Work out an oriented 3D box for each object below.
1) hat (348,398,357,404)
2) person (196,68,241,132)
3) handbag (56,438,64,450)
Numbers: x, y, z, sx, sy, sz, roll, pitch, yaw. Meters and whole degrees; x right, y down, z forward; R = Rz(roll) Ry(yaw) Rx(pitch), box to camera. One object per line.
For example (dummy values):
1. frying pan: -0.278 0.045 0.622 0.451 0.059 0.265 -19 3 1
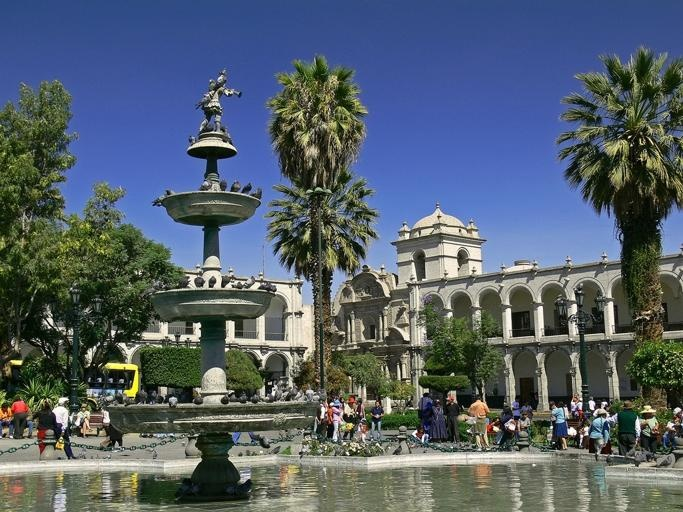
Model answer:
1. hat: 0.373 5.484 37.219 0.284 0.164 0.408 1 -1 -1
2. person: -3.400 -4.198 26.535 0.803 1.764 1.062 -1 -10 -7
3. handbag: -8.991 5.961 31.475 0.222 0.272 0.892 1 -11 -15
